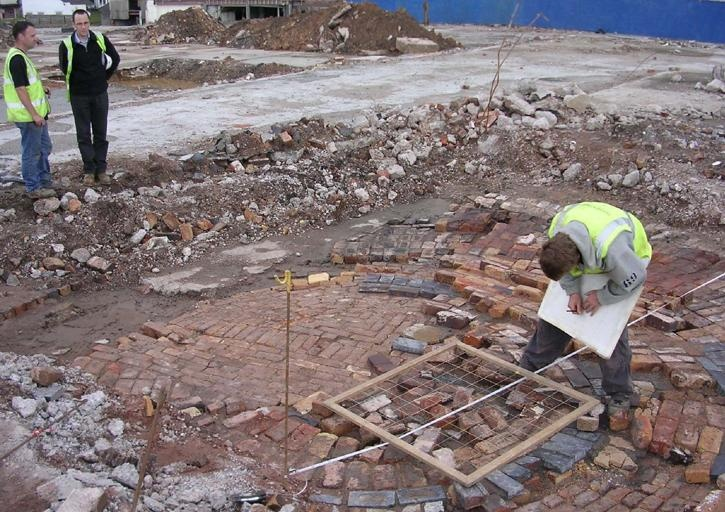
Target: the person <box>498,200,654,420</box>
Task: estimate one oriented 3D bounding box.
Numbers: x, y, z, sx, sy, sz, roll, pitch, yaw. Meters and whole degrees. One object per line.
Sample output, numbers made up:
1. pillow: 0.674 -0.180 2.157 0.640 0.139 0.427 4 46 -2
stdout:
1. person: 2.088 0.508 4.922 1.391 1.816 0.850 -7 20 -9
